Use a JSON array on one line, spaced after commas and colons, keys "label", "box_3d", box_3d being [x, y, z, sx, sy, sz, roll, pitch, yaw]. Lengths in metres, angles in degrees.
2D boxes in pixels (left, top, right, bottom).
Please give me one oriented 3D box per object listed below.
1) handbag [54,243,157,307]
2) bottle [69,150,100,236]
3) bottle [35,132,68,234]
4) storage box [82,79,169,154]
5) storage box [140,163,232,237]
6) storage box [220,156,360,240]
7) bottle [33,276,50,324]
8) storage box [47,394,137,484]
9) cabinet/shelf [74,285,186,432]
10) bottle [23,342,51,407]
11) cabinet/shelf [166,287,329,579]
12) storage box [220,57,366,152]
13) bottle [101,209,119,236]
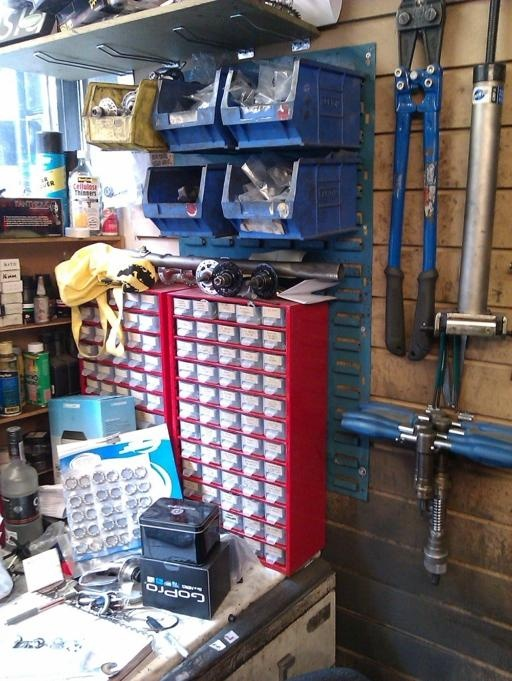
[{"label": "handbag", "box_3d": [-0.495, -0.205, 1.872, 0.281, 0.208, 0.093, -9, -29, 0]}, {"label": "bottle", "box_3d": [-0.676, -0.578, 2.194, 0.122, 0.315, 0.221, 1, 9, -9]}, {"label": "bottle", "box_3d": [-0.787, -0.622, 2.179, 0.130, 0.345, 0.099, -5, 12, -40]}, {"label": "storage box", "box_3d": [-0.387, -0.669, 1.674, 0.256, 0.190, 0.151, 19, 23, 39]}, {"label": "storage box", "box_3d": [-0.206, -0.408, 1.674, 0.214, 0.185, 0.171, 6, 9, 29]}, {"label": "storage box", "box_3d": [0.104, -0.377, 1.493, 0.337, 0.196, 0.261, -17, 22, -39]}, {"label": "bottle", "box_3d": [-0.782, -0.148, 2.035, 0.053, 0.166, 0.078, -1, 10, -20]}, {"label": "storage box", "box_3d": [-0.555, 0.389, 2.021, 0.203, 0.388, 0.403, -13, 2, -25]}, {"label": "cabinet/shelf", "box_3d": [-0.410, 0.057, 1.862, 0.443, 0.448, 0.158, 7, 13, 35]}, {"label": "bottle", "box_3d": [-0.805, 0.122, 2.062, 0.090, 0.234, 0.074, 11, 13, 43]}, {"label": "cabinet/shelf", "box_3d": [-0.113, 0.174, 1.756, 0.380, 0.196, 0.641, 15, 48, -19]}, {"label": "storage box", "box_3d": [0.083, -0.609, 1.469, 0.276, 0.241, 0.409, 9, 11, 32]}, {"label": "bottle", "box_3d": [-0.597, -0.478, 2.270, 0.067, 0.104, 0.050, -1, 10, -23]}]
